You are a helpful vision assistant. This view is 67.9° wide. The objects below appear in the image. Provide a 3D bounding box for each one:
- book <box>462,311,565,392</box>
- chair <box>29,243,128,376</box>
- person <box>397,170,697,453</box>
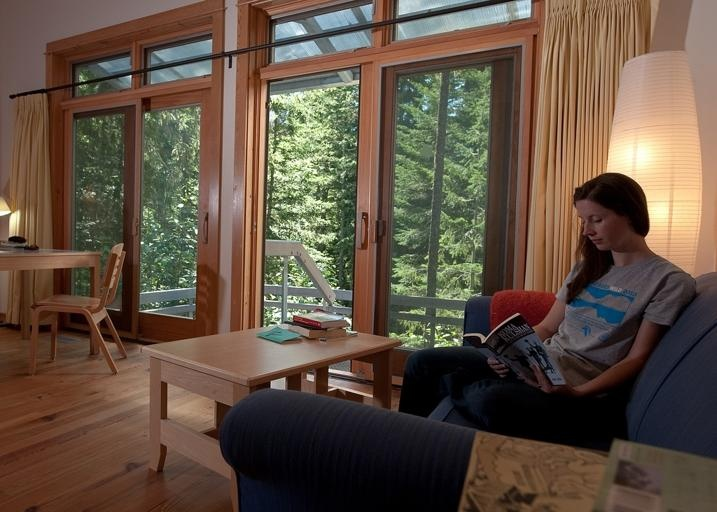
[{"bbox_3d":[0.535,0.354,1.793,0.283,0.269,0.103,-33,16,49],"label":"book"},{"bbox_3d":[-1.994,0.358,3.771,0.597,0.848,0.696,-2,8,-21],"label":"chair"},{"bbox_3d":[0.733,0.359,2.130,1.055,1.301,0.753,1,5,-7],"label":"person"}]
